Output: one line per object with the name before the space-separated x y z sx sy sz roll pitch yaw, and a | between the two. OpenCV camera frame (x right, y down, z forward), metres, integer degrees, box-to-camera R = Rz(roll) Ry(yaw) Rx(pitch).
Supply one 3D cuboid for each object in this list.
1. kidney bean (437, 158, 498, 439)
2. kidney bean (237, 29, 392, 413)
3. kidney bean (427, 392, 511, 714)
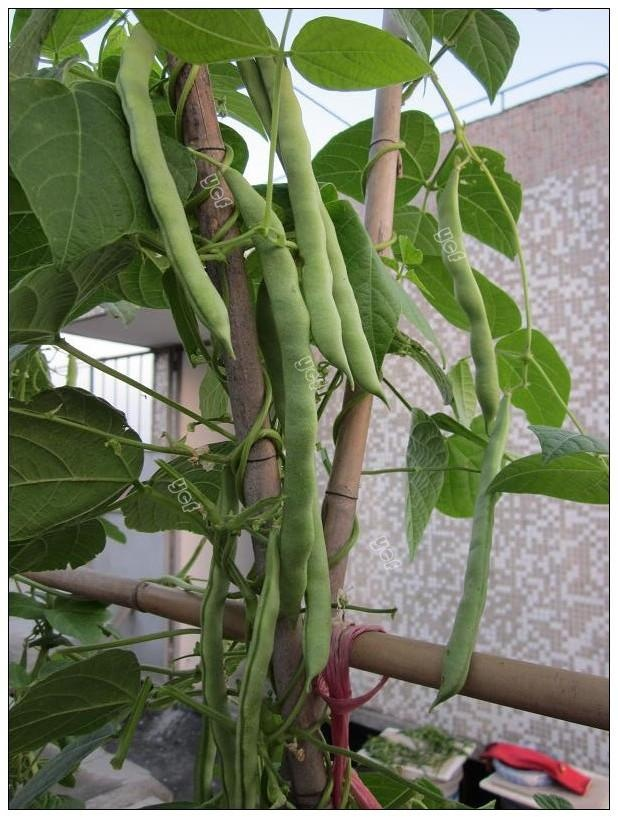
kidney bean | 0.074 -0.059 0.396 0.015 0.151 0.023 -14 -3 -5
kidney bean | -0.020 -0.107 0.353 0.028 0.224 0.031 -12 -13 -44
kidney bean | 0.087 0.043 0.360 0.023 0.192 0.016 30 -27 -31
